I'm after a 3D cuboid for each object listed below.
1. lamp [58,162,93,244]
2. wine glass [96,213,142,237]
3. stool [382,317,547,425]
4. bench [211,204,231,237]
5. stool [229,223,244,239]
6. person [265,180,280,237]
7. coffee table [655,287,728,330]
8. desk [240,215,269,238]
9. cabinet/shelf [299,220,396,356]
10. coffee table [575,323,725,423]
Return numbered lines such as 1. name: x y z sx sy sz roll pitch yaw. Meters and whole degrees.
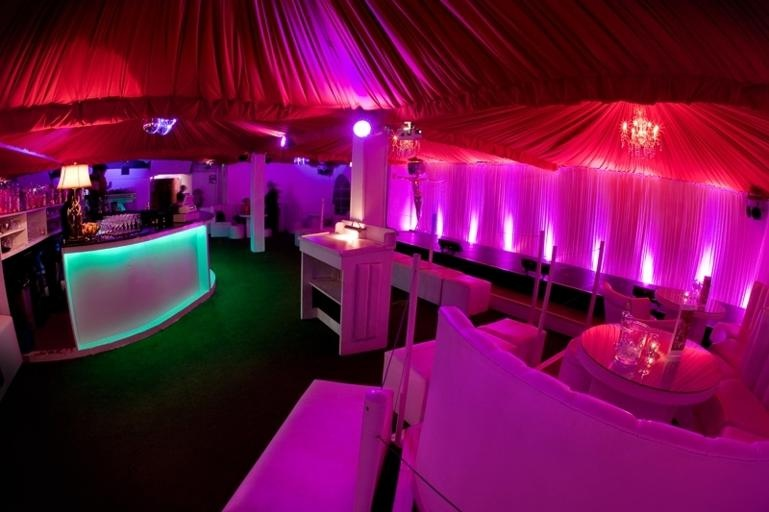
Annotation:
1. lamp: -4.161 -0.783 6.365 0.372 0.921 0.967 -10 18 -33
2. wine glass: -3.744 -0.466 6.721 0.352 0.230 0.501 10 12 29
3. stool: 0.722 1.046 4.245 1.284 0.482 0.371 -10 23 -34
4. bench: -4.899 -1.057 14.068 0.304 0.381 1.054 -3 37 -13
5. stool: -4.372 -0.765 13.928 0.469 0.417 0.378 -3 15 -13
6. person: -3.691 -1.624 15.488 0.455 1.562 1.215 -3 15 -12
7. coffee table: 4.255 0.741 6.557 0.632 0.297 0.644 -1 8 -4
8. desk: -3.897 -0.938 14.314 0.786 0.923 0.837 1 -1 -22
9. cabinet/shelf: -0.531 0.498 6.766 0.712 1.529 1.802 0 5 -23
10. coffee table: 2.690 1.214 4.801 0.804 0.762 0.809 -17 35 -41
